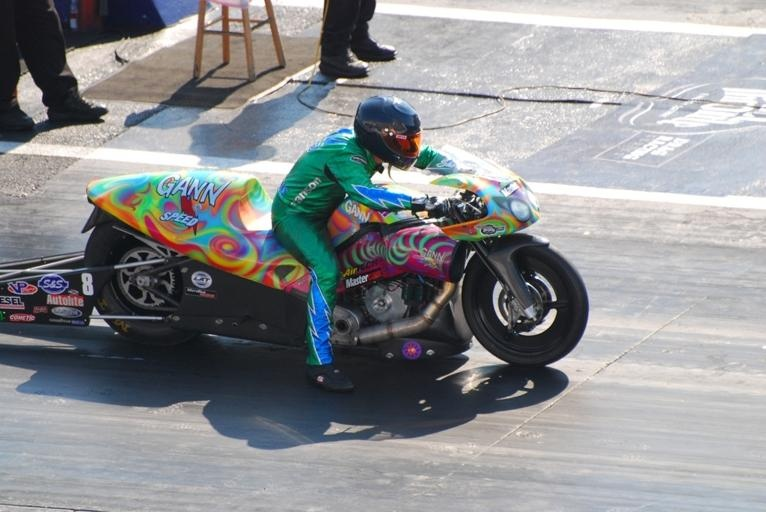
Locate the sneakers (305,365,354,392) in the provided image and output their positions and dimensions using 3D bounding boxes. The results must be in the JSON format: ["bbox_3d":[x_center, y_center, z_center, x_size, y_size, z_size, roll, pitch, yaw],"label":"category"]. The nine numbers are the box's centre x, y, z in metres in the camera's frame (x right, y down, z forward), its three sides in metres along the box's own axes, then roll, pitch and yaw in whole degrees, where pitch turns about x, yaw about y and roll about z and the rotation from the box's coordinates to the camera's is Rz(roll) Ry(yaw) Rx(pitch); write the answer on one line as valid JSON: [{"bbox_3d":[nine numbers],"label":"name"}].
[{"bbox_3d":[-0.492,1.144,12.180,0.441,0.118,0.228,10,25,20],"label":"sneakers"}]

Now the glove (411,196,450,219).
[{"bbox_3d":[0.453,-0.434,11.923,0.352,0.232,0.165,0,40,-1],"label":"glove"}]

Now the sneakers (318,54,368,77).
[{"bbox_3d":[-0.523,-2.593,17.951,0.772,0.251,0.251,0,37,3],"label":"sneakers"}]
